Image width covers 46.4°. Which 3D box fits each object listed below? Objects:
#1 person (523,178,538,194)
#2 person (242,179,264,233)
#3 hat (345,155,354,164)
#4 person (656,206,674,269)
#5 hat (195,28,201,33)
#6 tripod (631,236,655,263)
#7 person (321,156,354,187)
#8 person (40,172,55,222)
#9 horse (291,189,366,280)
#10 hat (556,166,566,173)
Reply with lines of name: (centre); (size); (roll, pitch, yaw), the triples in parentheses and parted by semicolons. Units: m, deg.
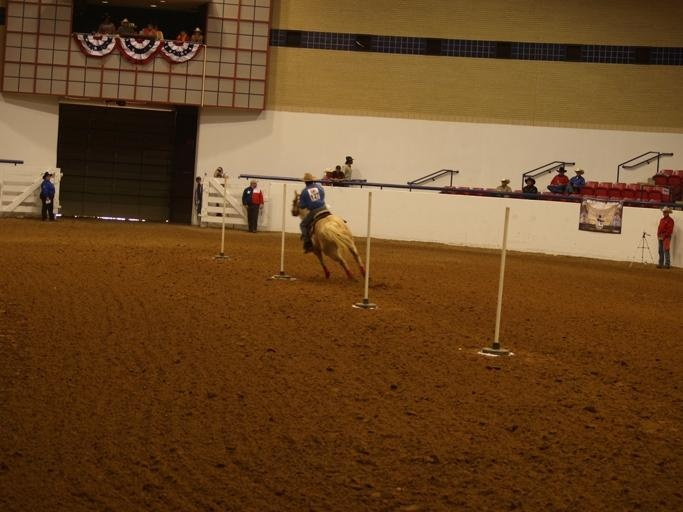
person: (7.847, -2.980, 33.128); (0.691, 0.393, 0.991); (2, 3, 9)
person: (-3.812, -2.133, 33.478); (0.831, 2.233, 1.096); (5, 11, 3)
hat: (0.267, -4.228, 34.712); (0.369, 0.330, 0.336); (0, 4, 19)
person: (11.582, -0.703, 28.301); (0.585, 2.152, 1.117); (9, 12, 21)
hat: (-6.384, -10.001, 35.083); (0.253, 0.080, 0.251); (-1, 4, -11)
tripod: (11.181, -0.279, 29.322); (0.725, 1.023, 0.206); (8, 11, 19)
person: (-0.165, -3.618, 34.010); (0.977, 1.674, 1.502); (-1, 6, -41)
person: (-11.890, -2.418, 31.945); (0.566, 1.826, 1.382); (0, 12, -21)
horse: (-0.175, -0.226, 18.942); (0.758, 1.683, 1.348); (-4, 14, -37)
hat: (9.651, -3.801, 34.794); (0.317, 0.138, 0.364); (4, 11, 13)
